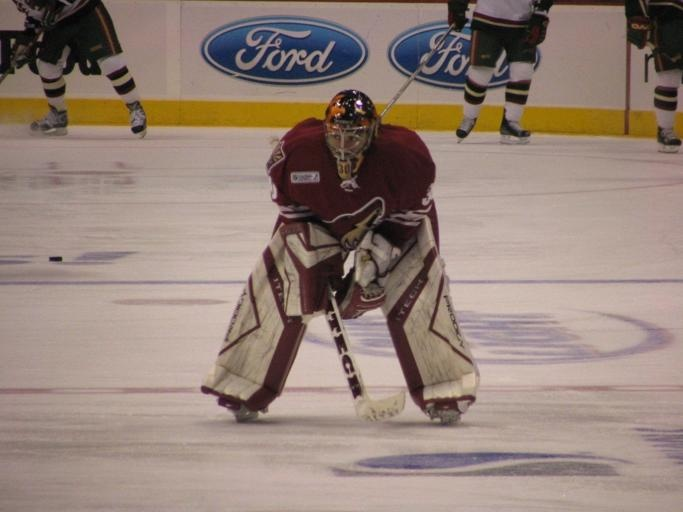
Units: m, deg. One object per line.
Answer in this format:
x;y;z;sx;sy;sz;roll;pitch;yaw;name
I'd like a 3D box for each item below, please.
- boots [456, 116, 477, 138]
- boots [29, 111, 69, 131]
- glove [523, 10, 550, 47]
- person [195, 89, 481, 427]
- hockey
1.060;-1.126;11.161;0.105;0.277;0.120;30;12;-1;boots
-2.634;-1.213;11.480;0.345;0.189;0.161;3;12;-6;boots
1.585;-1.860;10.601;0.176;0.219;0.100;16;2;12;glove
0.024;0.004;6.119;1.289;1.454;0.794;3;28;1;person
0.073;0.474;6.131;0.236;0.031;0.667;-28;57;0;hockey
